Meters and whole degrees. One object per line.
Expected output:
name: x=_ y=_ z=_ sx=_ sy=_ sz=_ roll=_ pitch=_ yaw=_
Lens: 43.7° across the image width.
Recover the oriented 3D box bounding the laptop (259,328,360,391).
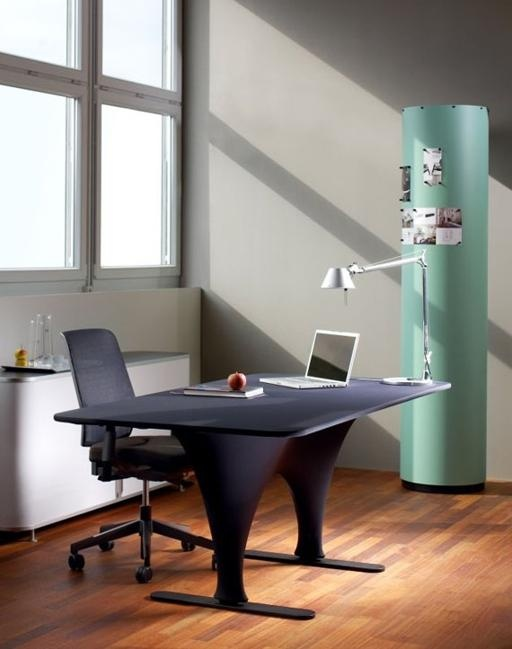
laptop: x=0.235 y=0.154 z=2.815 sx=0.325 sy=0.246 sz=0.355 roll=4 pitch=-3 yaw=-34

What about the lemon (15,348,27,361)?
lemon: x=-1.222 y=0.157 z=3.321 sx=0.057 sy=0.056 sz=0.056 roll=-4 pitch=7 yaw=-36

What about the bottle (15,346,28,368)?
bottle: x=-1.205 y=0.179 z=3.303 sx=0.089 sy=0.124 sz=0.089 roll=0 pitch=-4 yaw=0

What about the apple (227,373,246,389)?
apple: x=-0.074 y=0.218 z=2.466 sx=0.059 sy=0.063 sz=0.060 roll=0 pitch=1 yaw=8

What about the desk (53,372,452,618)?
desk: x=0.009 y=0.580 z=2.203 sx=0.879 sy=0.743 sz=1.267 roll=-3 pitch=-6 yaw=29

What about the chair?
chair: x=-0.485 y=0.513 z=2.704 sx=0.574 sy=0.932 sz=0.595 roll=0 pitch=-3 yaw=20
